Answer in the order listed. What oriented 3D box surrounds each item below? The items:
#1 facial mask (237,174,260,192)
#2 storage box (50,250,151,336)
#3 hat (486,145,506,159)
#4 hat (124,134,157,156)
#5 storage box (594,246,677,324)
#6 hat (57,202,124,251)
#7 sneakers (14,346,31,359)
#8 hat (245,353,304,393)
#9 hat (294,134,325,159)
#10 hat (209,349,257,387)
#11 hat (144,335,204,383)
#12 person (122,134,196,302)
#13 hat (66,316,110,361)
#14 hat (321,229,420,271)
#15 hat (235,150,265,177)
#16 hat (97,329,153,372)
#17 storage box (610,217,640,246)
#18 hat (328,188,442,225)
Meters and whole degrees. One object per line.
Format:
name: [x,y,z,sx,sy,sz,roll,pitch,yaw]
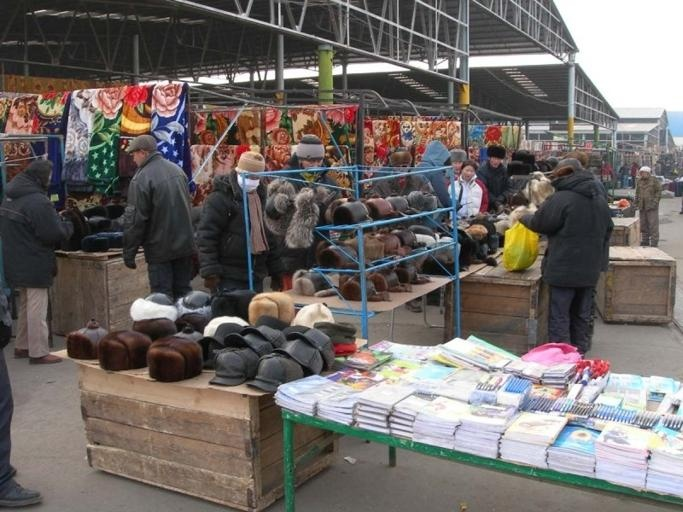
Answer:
facial mask: [-0.803,-0.627,5.534,0.160,0.083,0.151,23,10,10]
storage box: [-2.710,0.390,7.446,0.912,0.838,0.926,5,5,32]
hat: [2.248,-1.543,9.568,0.182,0.161,0.242,12,6,-1]
hat: [-1.928,-1.069,6.289,0.257,0.151,0.187,4,8,7]
storage box: [3.555,0.339,7.866,0.867,0.585,0.896,0,4,20]
hat: [-2.779,-0.332,7.284,0.671,0.263,0.530,2,10,20]
sneakers: [-3.230,0.965,6.681,0.207,0.152,0.071,-1,5,-19]
hat: [-0.408,0.695,4.041,0.259,0.206,0.403,7,6,38]
hat: [-0.295,-1.011,6.080,0.187,0.203,0.252,1,-6,-15]
hat: [-0.661,0.667,4.007,0.172,0.150,0.263,2,2,27]
hat: [-1.051,0.630,4.227,0.382,0.272,0.361,-5,9,-24]
person: [-1.742,-0.356,6.261,0.670,1.583,0.350,-2,7,-20]
hat: [-1.730,0.570,4.492,0.257,0.286,0.297,2,-3,3]
hat: [0.256,-0.078,5.606,0.333,0.259,1.047,6,8,40]
hat: [-0.768,-0.786,5.551,0.221,0.176,0.218,2,4,38]
hat: [-1.423,0.585,4.257,0.267,0.197,0.260,3,-3,-38]
storage box: [4.342,-0.389,10.086,0.258,0.327,0.499,1,6,31]
hat: [0.352,-0.439,5.604,0.367,0.228,1.041,-7,5,40]
